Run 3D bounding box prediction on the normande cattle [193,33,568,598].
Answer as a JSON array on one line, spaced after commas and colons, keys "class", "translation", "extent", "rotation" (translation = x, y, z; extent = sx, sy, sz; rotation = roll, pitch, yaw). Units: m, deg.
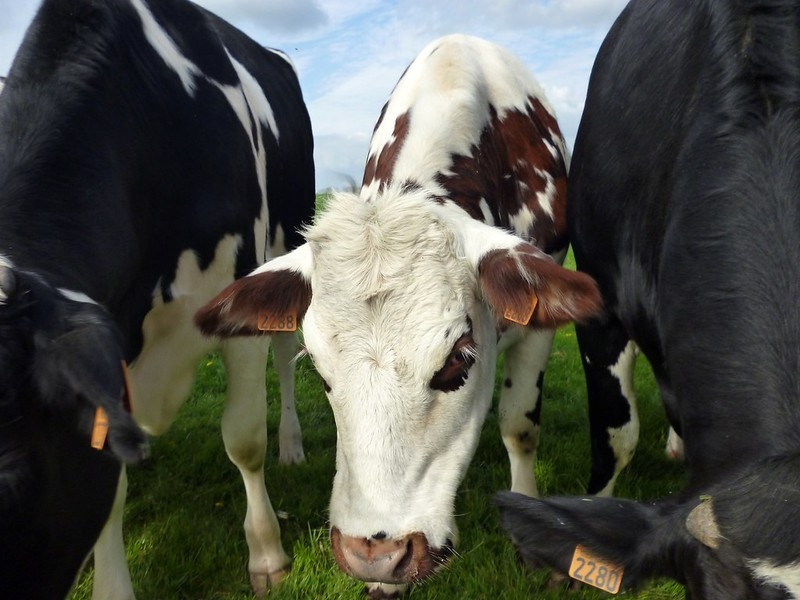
[{"class": "normande cattle", "translation": [0.242, -0.416, 4.667], "extent": [1.532, 2.344, 4.280], "rotation": [0, 44, 16]}]
